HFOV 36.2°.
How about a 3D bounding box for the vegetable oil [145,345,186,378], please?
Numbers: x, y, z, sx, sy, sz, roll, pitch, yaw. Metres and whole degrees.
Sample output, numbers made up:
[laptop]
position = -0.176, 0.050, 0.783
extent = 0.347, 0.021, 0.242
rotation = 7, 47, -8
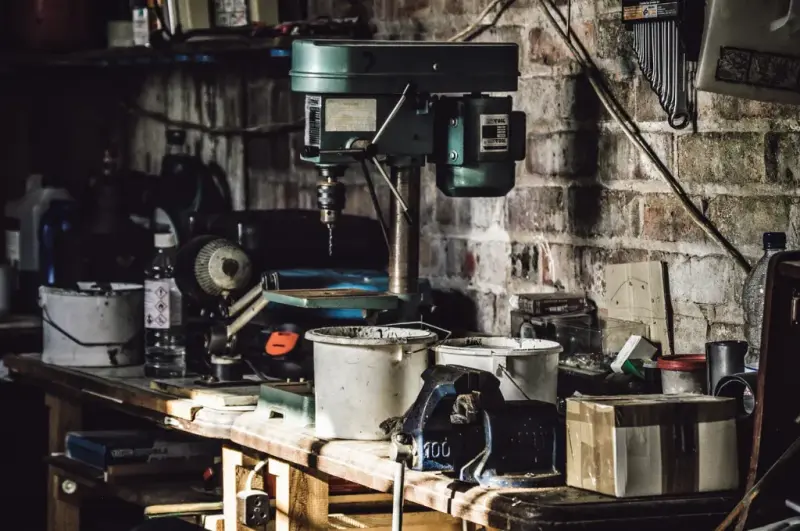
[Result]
[vegetable oil]
position = -0.816, 0.335, 4.203
extent = 0.111, 0.090, 0.116
rotation = 0, -6, 3

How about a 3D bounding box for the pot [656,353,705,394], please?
[pot]
position = 0.798, 0.305, 3.461
extent = 0.106, 0.089, 0.115
rotation = -1, -5, 0

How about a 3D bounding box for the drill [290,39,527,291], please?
[drill]
position = 0.029, -0.295, 3.668
extent = 0.680, 0.754, 0.253
rotation = -2, 7, -24

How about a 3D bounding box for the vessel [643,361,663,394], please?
[vessel]
position = 0.733, 0.326, 3.533
extent = 0.069, 0.113, 0.072
rotation = -1, -5, -2
